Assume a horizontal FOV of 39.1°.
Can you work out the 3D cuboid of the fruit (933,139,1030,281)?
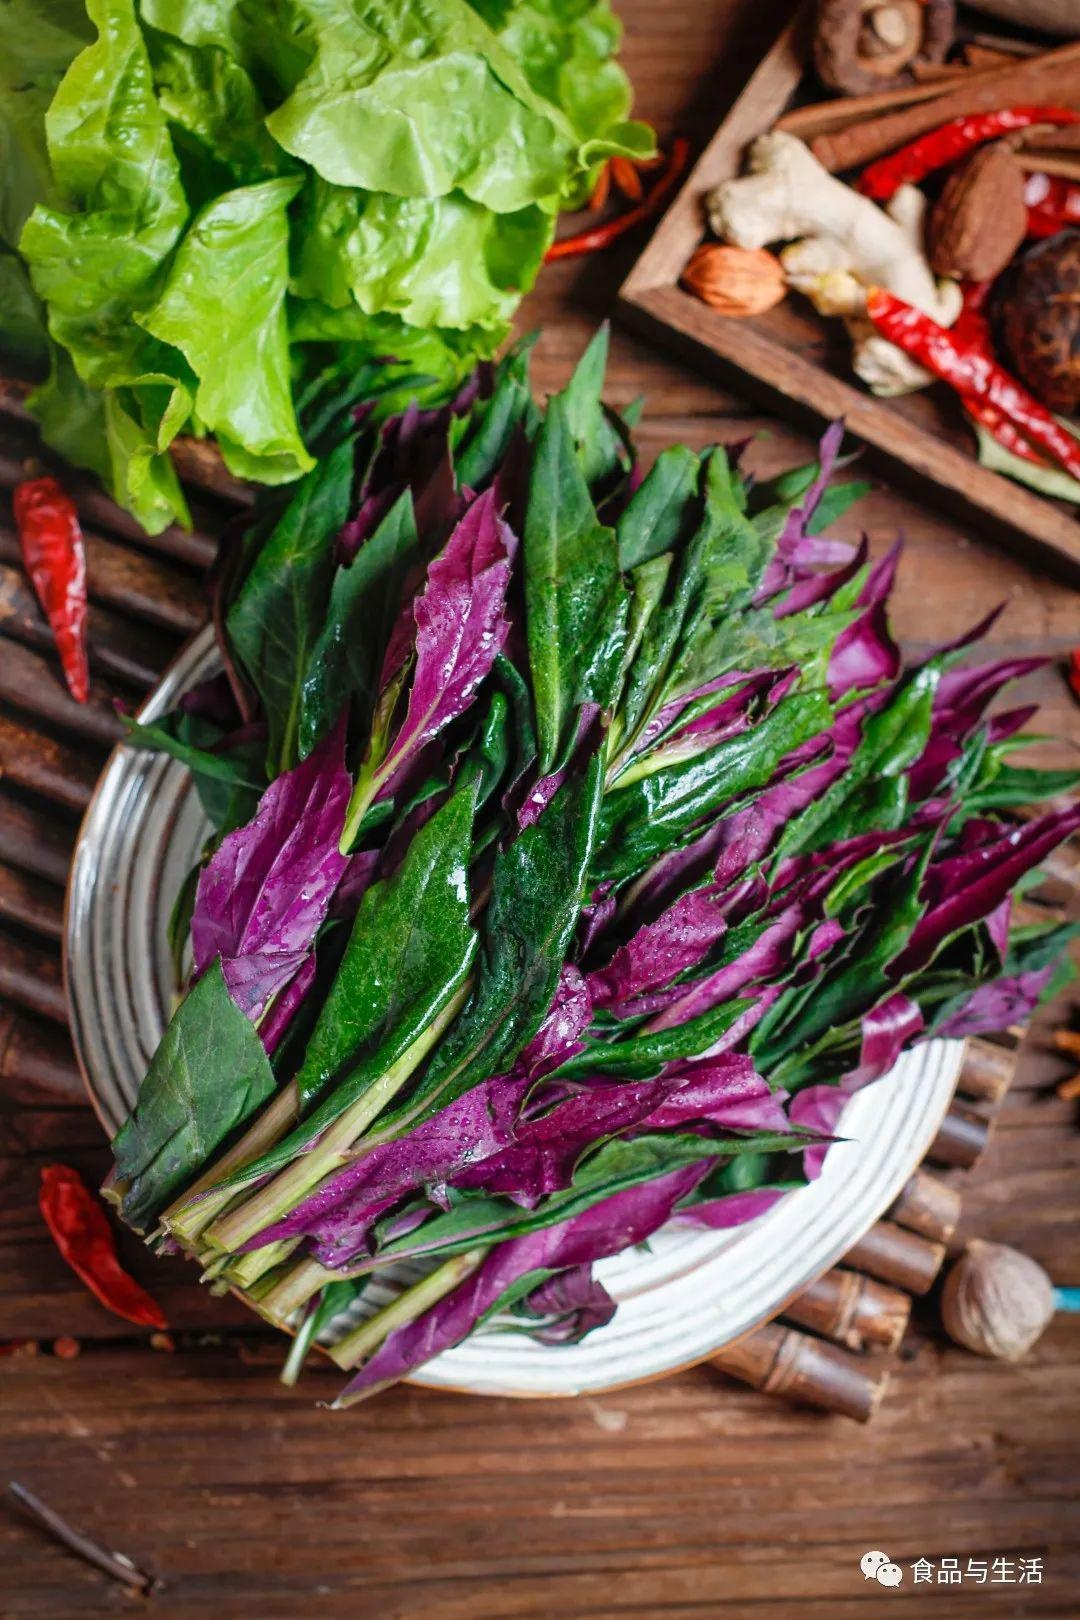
[{"bbox_3d":[0.266,-0.362,0.932,0.061,0.078,0.060,-6,60,3],"label":"fruit"}]

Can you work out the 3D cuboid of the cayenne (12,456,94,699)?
[{"bbox_3d":[-0.288,-0.141,0.930,0.043,0.039,0.142,-7,91,-7],"label":"cayenne"}]

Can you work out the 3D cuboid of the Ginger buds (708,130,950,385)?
[{"bbox_3d":[0.157,-0.352,0.984,0.175,0.059,0.119,27,93,-10],"label":"Ginger buds"}]

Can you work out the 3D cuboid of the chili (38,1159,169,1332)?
[{"bbox_3d":[-0.268,0.268,0.981,0.047,0.032,0.139,-36,90,-14],"label":"chili"}]

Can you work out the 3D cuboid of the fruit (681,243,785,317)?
[{"bbox_3d":[0.117,-0.323,0.939,0.061,0.053,0.039,5,61,9],"label":"fruit"}]
